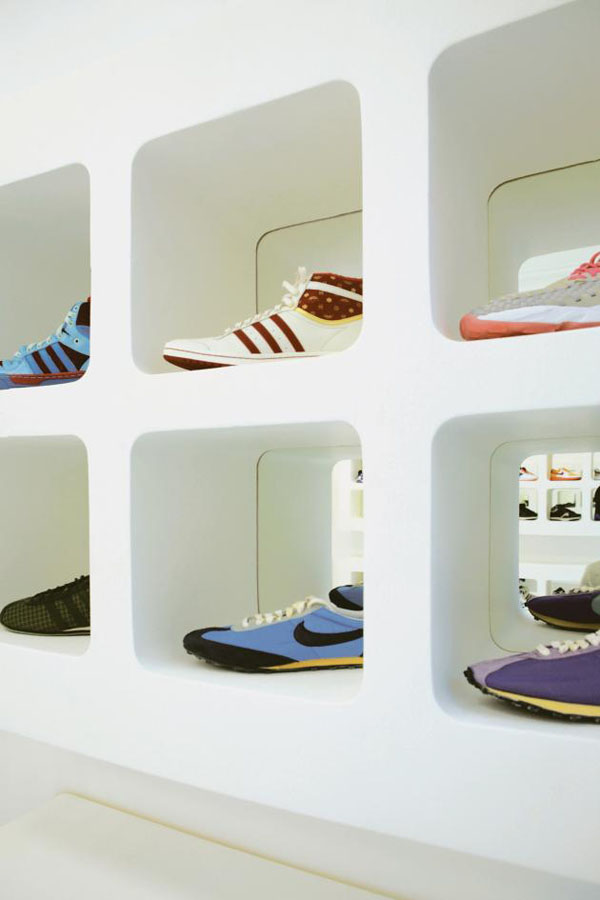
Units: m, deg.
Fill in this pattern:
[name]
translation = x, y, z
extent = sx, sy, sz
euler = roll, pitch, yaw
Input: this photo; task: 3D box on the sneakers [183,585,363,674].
[sneakers]
translation = -0.024, 0.254, 1.043
extent = 0.275, 0.120, 0.094
euler = 2, -14, -16
